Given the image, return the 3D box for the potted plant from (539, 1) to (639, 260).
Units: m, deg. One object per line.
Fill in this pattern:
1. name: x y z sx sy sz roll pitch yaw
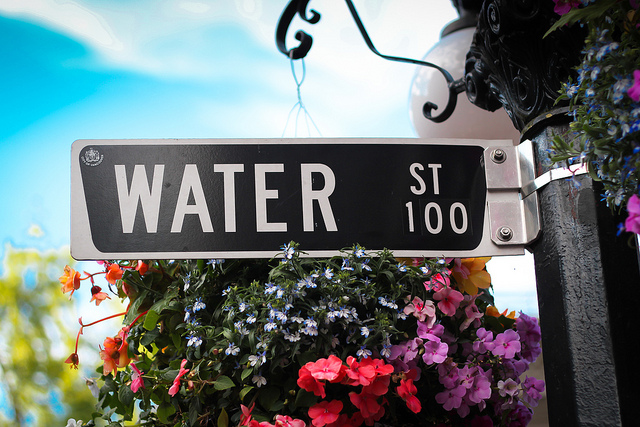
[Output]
1. potted plant: 0.905 -0.264 1.988 0.333 0.884 0.564 -4 12 20
